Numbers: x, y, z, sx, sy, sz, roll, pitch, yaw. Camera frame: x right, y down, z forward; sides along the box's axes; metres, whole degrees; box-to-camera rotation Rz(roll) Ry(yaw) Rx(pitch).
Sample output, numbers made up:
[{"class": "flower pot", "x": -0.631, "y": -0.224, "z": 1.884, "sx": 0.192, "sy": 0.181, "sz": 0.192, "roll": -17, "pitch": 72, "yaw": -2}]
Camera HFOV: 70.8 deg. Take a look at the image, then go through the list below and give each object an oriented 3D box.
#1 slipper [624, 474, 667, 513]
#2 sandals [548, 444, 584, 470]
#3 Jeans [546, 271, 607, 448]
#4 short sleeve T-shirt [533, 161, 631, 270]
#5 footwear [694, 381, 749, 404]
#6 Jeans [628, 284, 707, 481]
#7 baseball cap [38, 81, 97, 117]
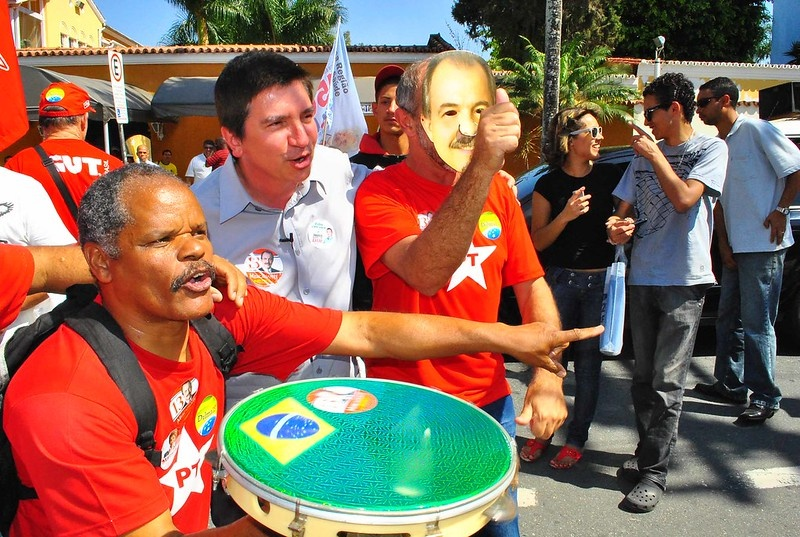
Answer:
[{"class": "slipper", "x": 1.782, "y": 1.607, "z": 4.064, "sx": 0.408, "sy": 0.176, "sz": 0.193, "roll": -14, "pitch": 10, "yaw": -40}, {"class": "sandals", "x": 1.309, "y": 1.489, "z": 4.449, "sx": 0.114, "sy": 0.083, "sz": 0.298, "roll": -2, "pitch": -3, "yaw": 37}, {"class": "Jeans", "x": 1.535, "y": 0.725, "z": 4.553, "sx": 0.330, "sy": 1.584, "sz": 0.449, "roll": -4, "pitch": 2, "yaw": -31}, {"class": "short sleeve T-shirt", "x": 1.435, "y": -0.406, "z": 4.452, "sx": 0.788, "sy": 0.817, "sz": 0.444, "roll": -3, "pitch": -5, "yaw": -11}, {"class": "footwear", "x": 3.075, "y": 1.211, "z": 5.458, "sx": 0.162, "sy": 0.197, "sz": 0.454, "roll": -4, "pitch": 11, "yaw": -40}, {"class": "Jeans", "x": 1.867, "y": 0.825, "z": 4.082, "sx": 0.470, "sy": 1.431, "sz": 0.407, "roll": 4, "pitch": 9, "yaw": 28}, {"class": "baseball cap", "x": -2.780, "y": -1.420, "z": 4.782, "sx": 0.296, "sy": 0.245, "sz": 0.458, "roll": 2, "pitch": 22, "yaw": 6}]
